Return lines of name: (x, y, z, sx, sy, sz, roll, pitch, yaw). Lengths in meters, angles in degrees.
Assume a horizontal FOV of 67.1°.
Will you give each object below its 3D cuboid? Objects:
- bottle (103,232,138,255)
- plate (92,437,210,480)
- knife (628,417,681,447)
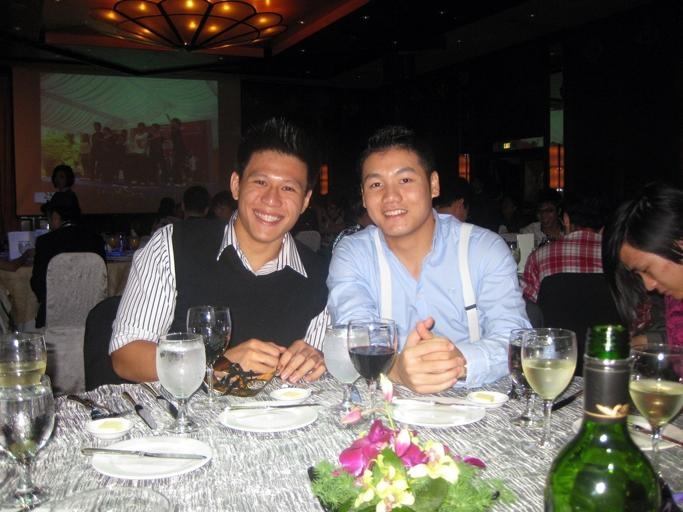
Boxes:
bottle: (-2.830, -0.159, 6.691, 0.386, 0.242, 0.392, 2, 6, 0)
plate: (-0.413, 0.434, 1.105, 0.258, 0.021, 0.172, -2, 8, -12)
knife: (0.759, 0.429, 1.242, 0.024, 0.015, 0.089, -2, 9, -26)
